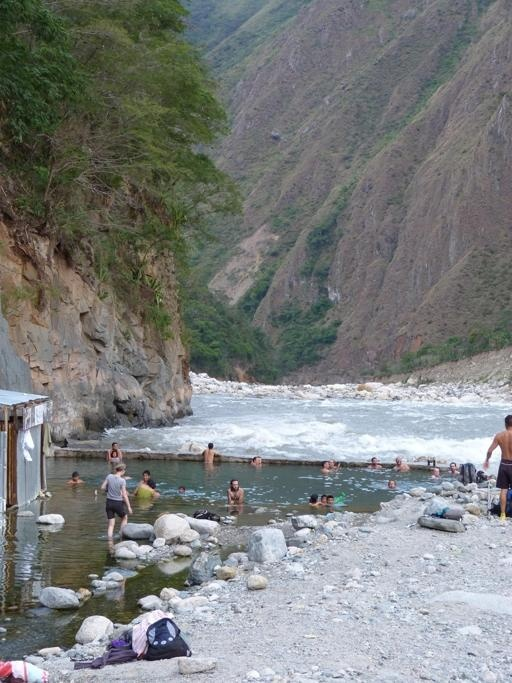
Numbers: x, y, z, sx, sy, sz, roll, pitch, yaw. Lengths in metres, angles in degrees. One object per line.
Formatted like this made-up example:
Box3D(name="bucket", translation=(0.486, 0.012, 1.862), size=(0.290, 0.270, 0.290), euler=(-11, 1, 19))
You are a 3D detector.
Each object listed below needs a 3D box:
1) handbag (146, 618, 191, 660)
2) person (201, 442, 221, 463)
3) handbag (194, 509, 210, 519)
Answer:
Box3D(name="handbag", translation=(-0.854, 2.849, 8.754), size=(0.444, 0.332, 0.311), euler=(-2, 3, -7))
Box3D(name="person", translation=(-1.086, 2.684, 22.112), size=(0.456, 0.504, 0.824), euler=(-2, 3, -3))
Box3D(name="handbag", translation=(-0.907, 2.780, 14.761), size=(0.195, 0.114, 0.155), euler=(3, 4, 14))
